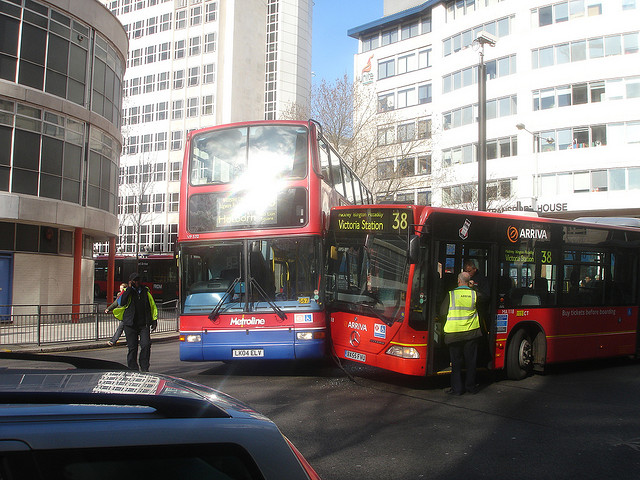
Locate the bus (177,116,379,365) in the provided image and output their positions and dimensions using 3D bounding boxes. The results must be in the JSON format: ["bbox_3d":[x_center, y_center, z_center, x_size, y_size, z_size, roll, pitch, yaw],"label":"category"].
[{"bbox_3d":[-1.739,1.140,16.923,3.035,5.218,10.194,-3,-12,-2],"label":"bus"}]

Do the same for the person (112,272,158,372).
[{"bbox_3d":[-3.532,1.599,11.613,0.750,1.979,0.480,0,-7,-41],"label":"person"}]

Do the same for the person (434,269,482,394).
[{"bbox_3d":[2.562,1.654,10.985,0.768,2.246,1.129,0,-1,16],"label":"person"}]

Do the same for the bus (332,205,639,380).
[{"bbox_3d":[4.088,1.099,12.838,7.730,3.347,2.382,1,-1,-28],"label":"bus"}]
